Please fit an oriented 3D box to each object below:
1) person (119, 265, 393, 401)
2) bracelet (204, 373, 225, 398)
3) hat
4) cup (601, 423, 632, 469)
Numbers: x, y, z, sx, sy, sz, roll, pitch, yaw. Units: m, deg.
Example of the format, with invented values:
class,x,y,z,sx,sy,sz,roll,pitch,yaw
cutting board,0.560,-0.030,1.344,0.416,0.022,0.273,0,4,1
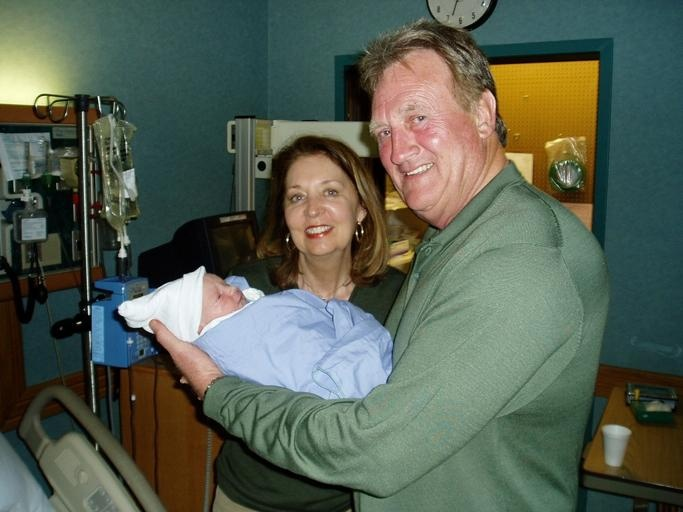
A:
class,x,y,z,sx,sy,sz,roll,pitch,yaw
person,-0.252,0.271,2.130,0.671,0.263,0.485,17,3,-5
bracelet,-0.401,0.387,1.899,0.068,0.019,0.069,-54,4,-35
hat,-0.638,0.189,2.258,0.280,0.156,0.210,-18,51,-14
cup,1.293,0.880,2.981,0.161,0.198,0.167,0,10,0
